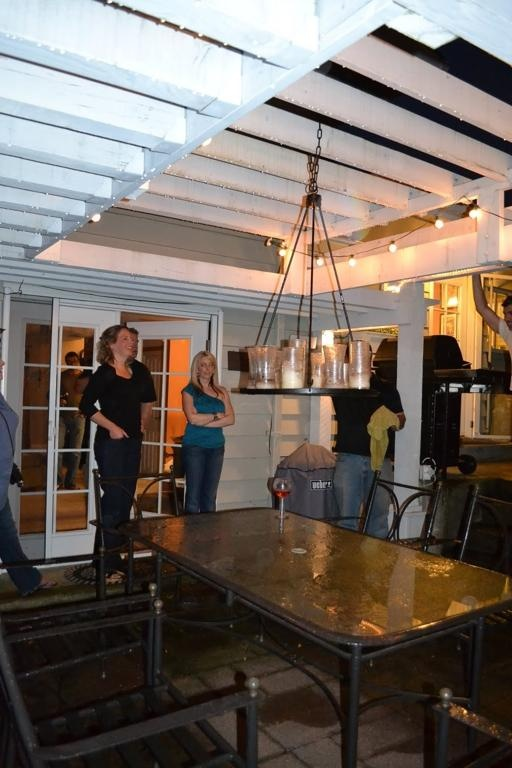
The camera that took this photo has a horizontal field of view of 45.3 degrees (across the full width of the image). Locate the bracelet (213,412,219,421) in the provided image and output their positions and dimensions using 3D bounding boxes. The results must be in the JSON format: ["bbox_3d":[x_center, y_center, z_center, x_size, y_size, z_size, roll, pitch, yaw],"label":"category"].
[{"bbox_3d":[-0.261,0.215,3.972,0.034,0.051,0.082,-4,0,-2],"label":"bracelet"}]

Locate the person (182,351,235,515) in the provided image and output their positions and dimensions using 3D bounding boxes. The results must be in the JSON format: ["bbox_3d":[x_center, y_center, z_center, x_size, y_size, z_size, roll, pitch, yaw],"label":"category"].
[{"bbox_3d":[-0.324,0.307,4.046,0.355,1.056,0.348,-4,0,-7],"label":"person"}]
